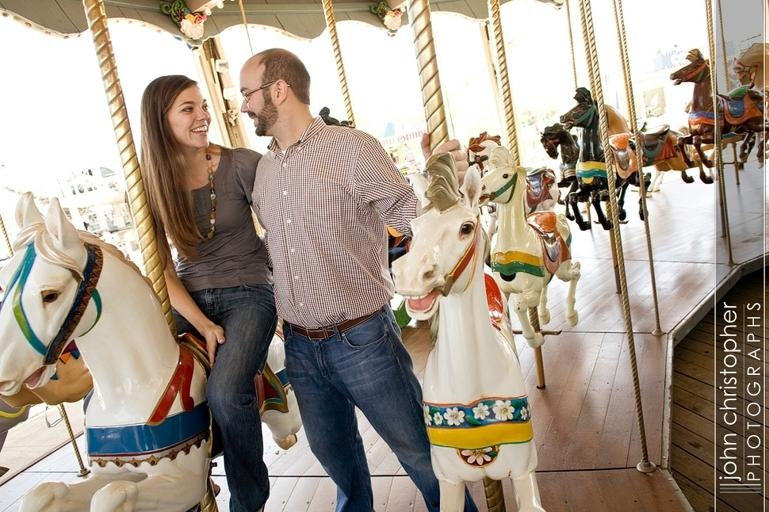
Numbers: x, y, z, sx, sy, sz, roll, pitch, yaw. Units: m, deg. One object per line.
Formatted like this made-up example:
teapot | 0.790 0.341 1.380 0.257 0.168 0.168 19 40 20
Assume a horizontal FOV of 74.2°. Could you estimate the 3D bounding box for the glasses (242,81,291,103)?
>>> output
glasses | -0.606 -0.828 2.514 0.132 0.037 0.133 -19 11 -7
